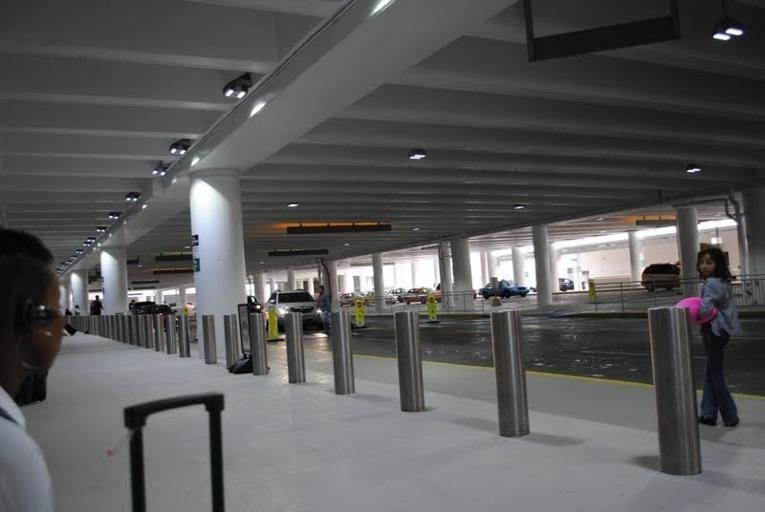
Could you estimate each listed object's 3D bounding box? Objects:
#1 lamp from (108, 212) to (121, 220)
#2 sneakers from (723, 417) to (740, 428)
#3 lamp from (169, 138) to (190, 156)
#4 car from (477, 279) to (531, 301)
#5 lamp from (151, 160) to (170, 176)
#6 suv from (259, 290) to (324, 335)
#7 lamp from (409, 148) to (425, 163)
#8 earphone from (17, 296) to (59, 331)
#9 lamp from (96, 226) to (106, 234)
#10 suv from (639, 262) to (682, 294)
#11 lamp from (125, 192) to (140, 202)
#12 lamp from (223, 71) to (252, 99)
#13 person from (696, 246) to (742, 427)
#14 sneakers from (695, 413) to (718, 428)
[{"bbox_3d":[-11.686,-1.743,20.803,0.482,0.155,0.488,6,-10,-44],"label":"lamp"},{"bbox_3d":[4.176,1.992,5.703,0.156,0.062,0.097,-9,0,7],"label":"sneakers"},{"bbox_3d":[-5.447,-2.921,12.830,0.643,0.333,0.406,-4,-4,15],"label":"lamp"},{"bbox_3d":[12.879,3.710,51.710,6.011,1.910,2.681,0,-5,-40],"label":"car"},{"bbox_3d":[-6.895,-2.687,14.789,0.359,0.347,0.869,0,-5,-42],"label":"lamp"},{"bbox_3d":[-5.303,2.978,27.873,2.851,2.155,4.647,-2,1,-19],"label":"suv"},{"bbox_3d":[1.052,-3.054,14.517,0.585,0.271,0.923,-3,-3,5],"label":"lamp"},{"bbox_3d":[-1.204,0.199,1.665,0.116,0.080,0.041,9,-47,-11],"label":"earphone"},{"bbox_3d":[-14.528,-1.324,24.655,0.429,0.130,2.248,-1,-4,-33],"label":"lamp"},{"bbox_3d":[19.922,1.616,34.111,3.856,1.795,2.192,-4,3,-19],"label":"suv"},{"bbox_3d":[-8.997,-2.089,17.281,0.392,0.122,0.382,9,32,30],"label":"lamp"},{"bbox_3d":[-2.894,-3.418,9.593,0.541,0.222,0.378,-7,-6,15],"label":"lamp"},{"bbox_3d":[4.114,0.975,5.929,0.438,2.177,0.654,-7,-5,44],"label":"person"},{"bbox_3d":[3.952,1.992,5.821,0.175,0.123,0.212,-5,-4,36],"label":"sneakers"}]
